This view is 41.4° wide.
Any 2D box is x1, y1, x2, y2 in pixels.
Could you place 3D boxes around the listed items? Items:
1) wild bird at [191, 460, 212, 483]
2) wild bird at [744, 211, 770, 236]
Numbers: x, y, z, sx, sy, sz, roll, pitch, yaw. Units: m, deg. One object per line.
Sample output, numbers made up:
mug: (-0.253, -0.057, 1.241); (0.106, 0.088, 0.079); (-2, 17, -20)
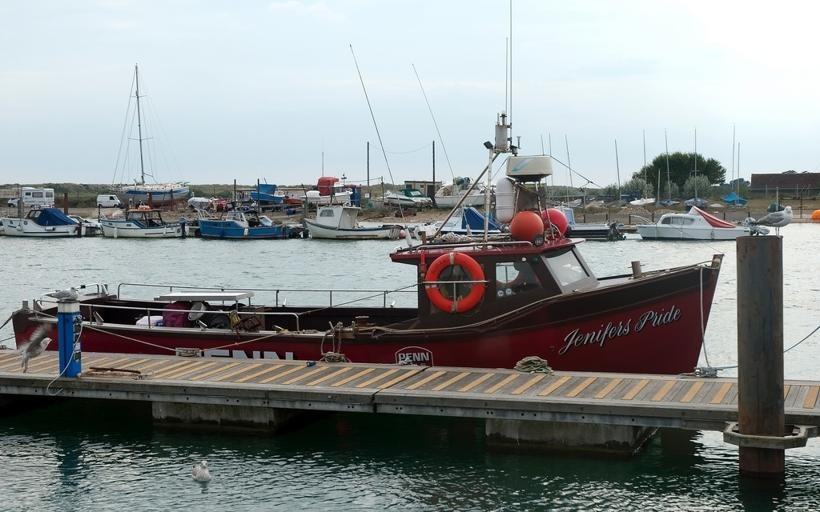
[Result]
wild bird: (-3.953, 4.059, 20.520); (0.369, 0.356, 0.415); (-1, 8, -10)
wild bird: (6.401, -0.538, 20.242); (0.434, 0.291, 0.692); (2, 7, 15)
